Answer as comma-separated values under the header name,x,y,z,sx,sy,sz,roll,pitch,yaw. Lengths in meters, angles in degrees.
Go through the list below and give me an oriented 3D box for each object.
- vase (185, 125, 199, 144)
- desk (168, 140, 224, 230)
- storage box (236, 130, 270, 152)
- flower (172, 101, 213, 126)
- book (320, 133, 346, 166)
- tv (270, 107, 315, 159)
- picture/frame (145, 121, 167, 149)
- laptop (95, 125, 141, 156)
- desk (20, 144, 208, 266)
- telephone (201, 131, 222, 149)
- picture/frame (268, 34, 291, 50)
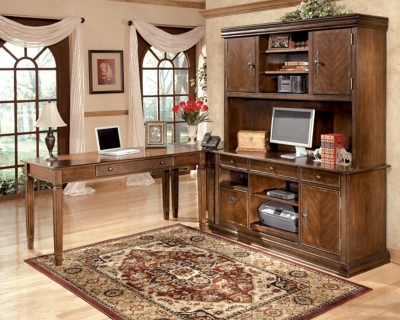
name,x,y,z,sx,sy,sz,roll,pitch,yaw
vase,-0.090,-0.344,4.593,0.258,0.232,0.242,1,4,7
desk,-0.145,0.277,4.304,0.748,0.696,0.556,-1,-14,16
storage box,0.667,-0.234,4.024,0.380,0.193,0.279,6,13,34
flower,-0.099,-0.620,4.559,0.470,0.314,0.540,-7,7,-44
book,1.247,-0.104,3.196,0.202,0.264,0.175,2,9,19
tv,1.025,-0.301,3.683,0.287,0.504,0.615,-9,13,-27
picture/frame,-0.542,-0.312,4.094,0.314,0.315,0.027,-5,9,-43
laptop,-0.901,-0.202,3.728,0.410,0.229,0.414,9,13,17
desk,-0.858,0.370,3.895,1.941,0.783,0.686,-6,7,-43
telephone,0.122,-0.227,4.264,0.238,0.212,0.075,10,-19,32
picture/frame,0.852,-1.256,3.608,0.263,0.154,0.020,6,6,38
